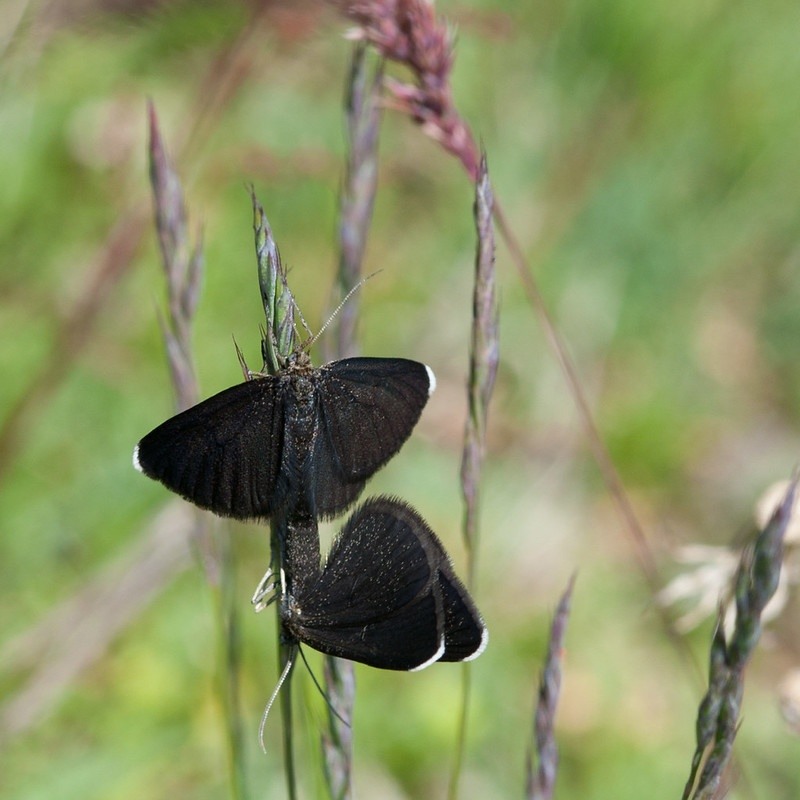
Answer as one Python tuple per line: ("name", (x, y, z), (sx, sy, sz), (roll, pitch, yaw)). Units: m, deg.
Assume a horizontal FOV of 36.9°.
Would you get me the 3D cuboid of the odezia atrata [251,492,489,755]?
("odezia atrata", (-0.014, 0.340, 1.767), (0.168, 0.290, 0.349), (19, 39, -49))
